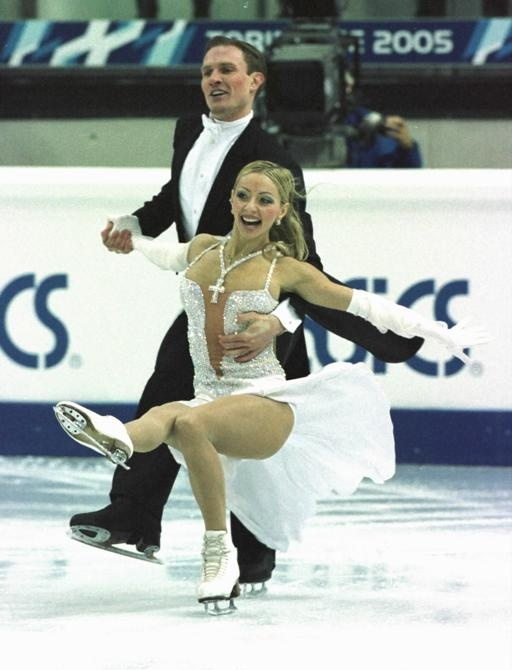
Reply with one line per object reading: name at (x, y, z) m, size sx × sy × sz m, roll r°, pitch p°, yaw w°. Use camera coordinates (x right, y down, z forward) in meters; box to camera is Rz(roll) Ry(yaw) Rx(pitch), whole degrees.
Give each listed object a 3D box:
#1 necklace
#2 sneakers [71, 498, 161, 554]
necklace at (-0.082, -0.180, 2.485) m, size 0.100 × 0.014 × 0.203 m, roll 17°, pitch 50°, yaw 15°
sneakers at (-0.404, 0.595, 2.710) m, size 0.330 × 0.125 × 0.136 m, roll 17°, pitch 56°, yaw -18°
